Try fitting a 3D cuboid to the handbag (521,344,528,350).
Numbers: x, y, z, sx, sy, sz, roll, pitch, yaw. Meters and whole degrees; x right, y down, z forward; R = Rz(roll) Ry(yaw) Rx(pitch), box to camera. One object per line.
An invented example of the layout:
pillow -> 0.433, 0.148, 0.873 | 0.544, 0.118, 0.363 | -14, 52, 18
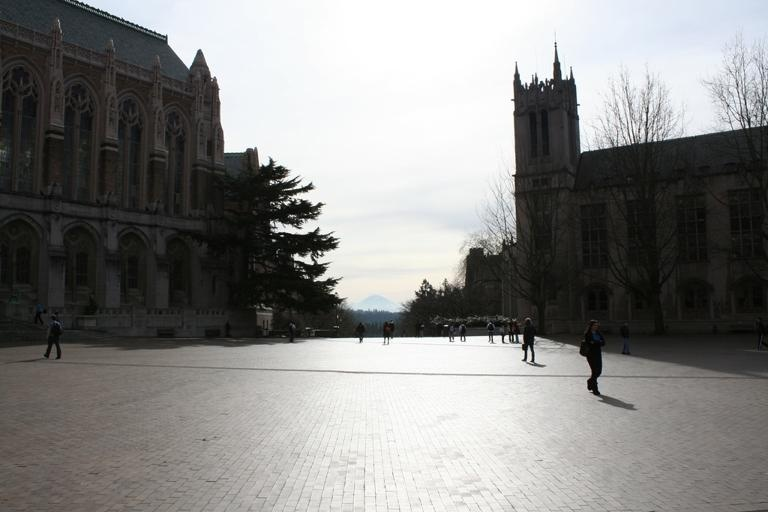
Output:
handbag -> 6.124, 3.971, 31.157 | 0.202, 0.258, 0.454 | -3, -7, 10
